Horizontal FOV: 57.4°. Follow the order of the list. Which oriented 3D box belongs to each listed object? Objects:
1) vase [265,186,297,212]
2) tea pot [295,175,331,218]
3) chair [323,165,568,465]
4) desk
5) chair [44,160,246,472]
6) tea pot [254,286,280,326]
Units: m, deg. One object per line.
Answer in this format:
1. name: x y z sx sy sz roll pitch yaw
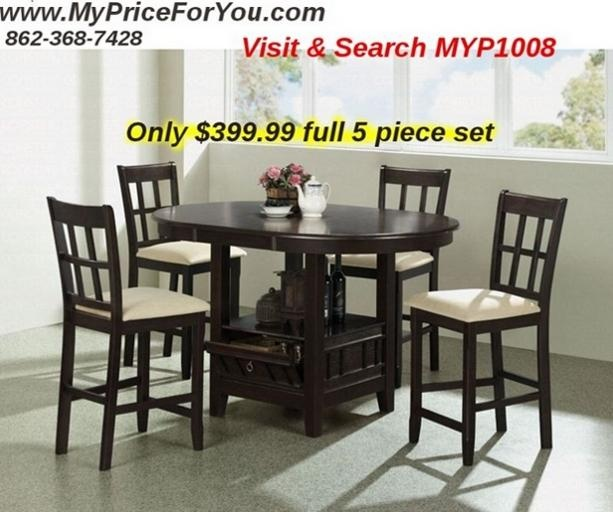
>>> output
1. vase: -0.116 -0.279 2.751 0.110 0.076 0.117 2 0 44
2. tea pot: 0.031 -0.285 2.700 0.172 0.198 0.128 -2 12 -9
3. chair: 0.815 0.156 2.675 0.731 1.214 1.386 1 5 9
4. desk: 0.004 0.310 2.501 1.345 0.940 0.974 3 5 37
5. chair: -0.838 0.303 2.780 0.525 1.158 1.399 4 6 17
6. tea pot: -0.184 0.238 2.687 0.116 0.163 0.148 8 8 1
